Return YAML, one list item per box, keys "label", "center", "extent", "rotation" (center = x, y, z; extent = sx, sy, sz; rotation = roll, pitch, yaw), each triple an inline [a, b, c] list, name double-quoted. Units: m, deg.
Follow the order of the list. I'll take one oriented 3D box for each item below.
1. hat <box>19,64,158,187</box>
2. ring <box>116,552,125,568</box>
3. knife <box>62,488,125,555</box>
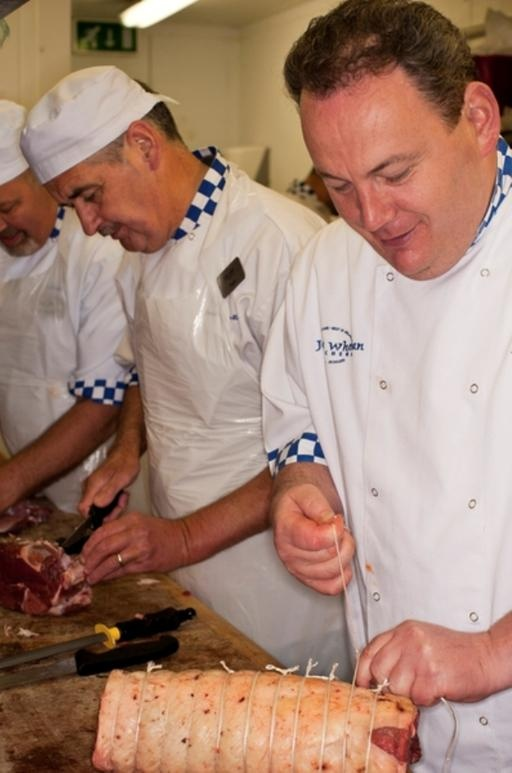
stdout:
- label: "hat"
  center: [-0.358, -0.570, 1.770]
  extent: [0.299, 0.158, 0.222]
  rotation: [-42, 33, -19]
- label: "ring"
  center: [-0.301, 0.385, 1.720]
  extent: [0.007, 0.025, 0.026]
  rotation: [-20, 24, -10]
- label: "knife"
  center: [-0.402, 0.342, 1.945]
  extent: [0.040, 0.033, 0.228]
  rotation: [-10, 33, 24]
